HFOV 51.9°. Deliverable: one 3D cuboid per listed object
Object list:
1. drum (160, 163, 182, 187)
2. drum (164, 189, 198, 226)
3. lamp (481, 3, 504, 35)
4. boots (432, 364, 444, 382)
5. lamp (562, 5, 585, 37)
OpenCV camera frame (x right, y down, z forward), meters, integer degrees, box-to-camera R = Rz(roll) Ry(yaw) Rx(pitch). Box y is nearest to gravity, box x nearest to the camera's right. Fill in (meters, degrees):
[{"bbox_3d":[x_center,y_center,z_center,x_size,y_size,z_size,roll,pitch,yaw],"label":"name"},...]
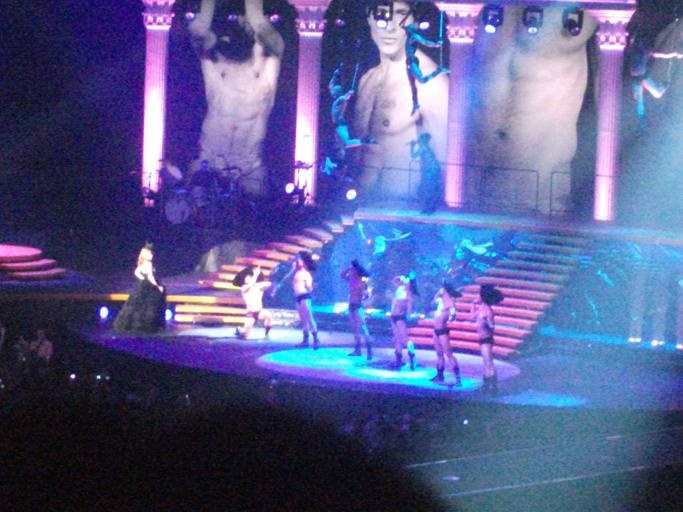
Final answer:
[{"bbox_3d":[-5.580,-2.737,22.917,0.656,0.207,0.848,-14,52,-37],"label":"drum"},{"bbox_3d":[-5.127,-1.609,22.304,1.024,0.703,0.959,0,51,1],"label":"drum"},{"bbox_3d":[5.105,-8.050,23.886,1.027,0.690,1.186,3,70,6],"label":"lamp"},{"bbox_3d":[1.936,2.371,14.002,0.324,0.227,0.398,1,88,0],"label":"boots"},{"bbox_3d":[8.069,-8.294,24.486,0.578,0.921,1.229,6,51,6],"label":"lamp"}]
